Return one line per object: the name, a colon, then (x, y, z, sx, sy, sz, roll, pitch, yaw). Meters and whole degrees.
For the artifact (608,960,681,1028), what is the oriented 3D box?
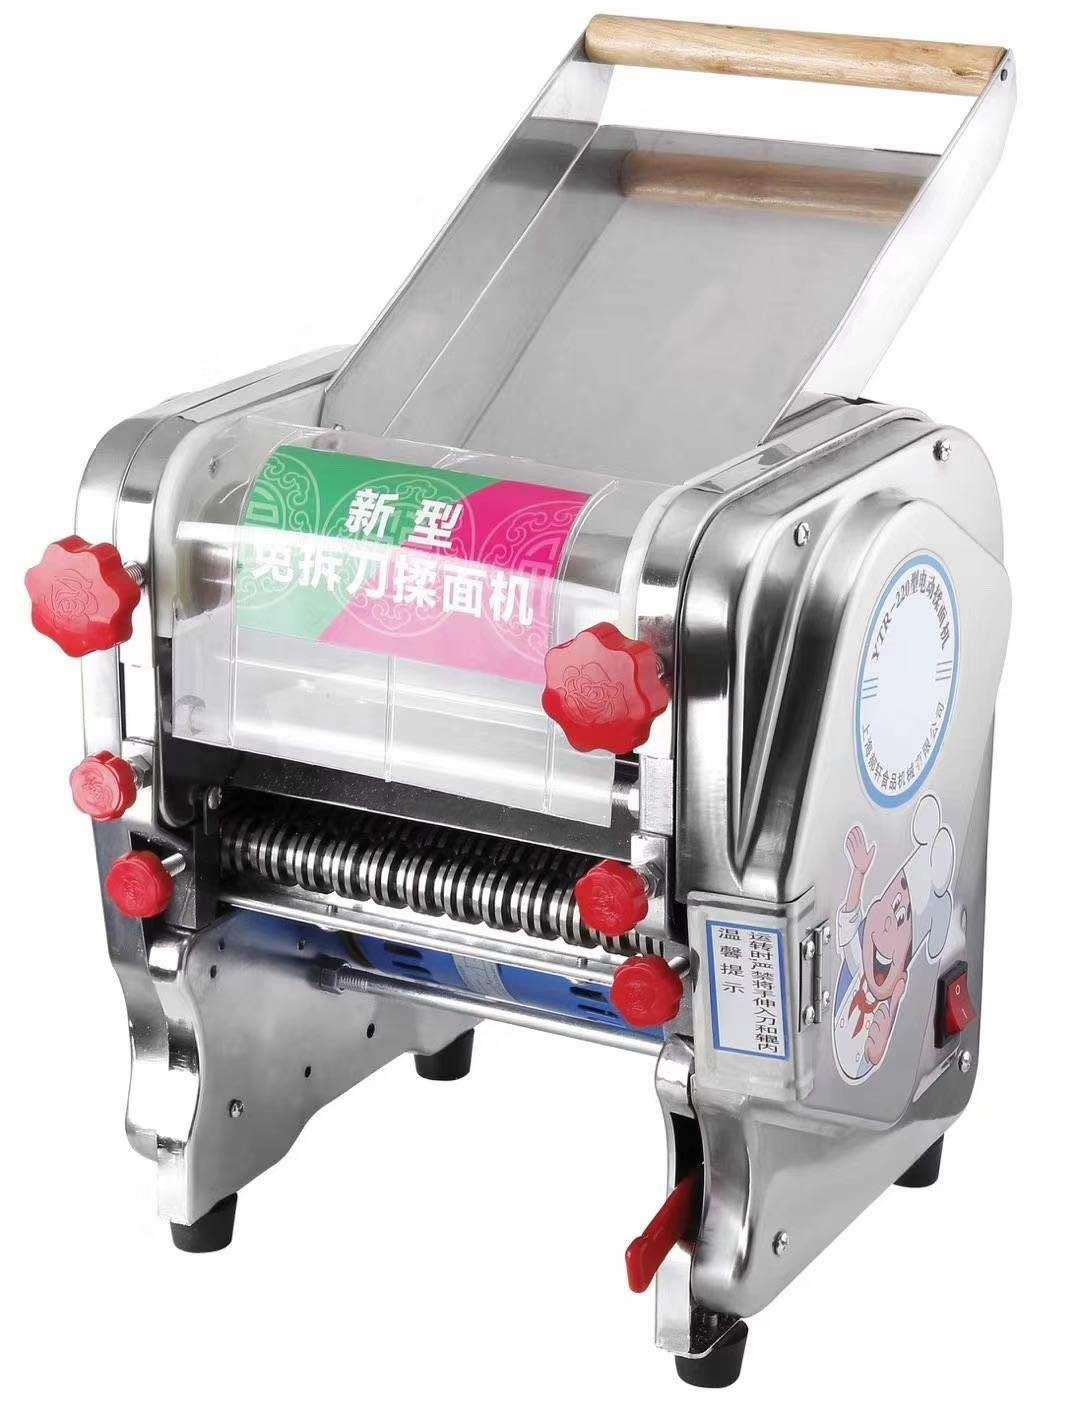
artifact: (0.099, 0.239, 1.249, 0.051, 0.056, 0.088, -7, -16, 43)

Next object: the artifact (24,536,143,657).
artifact: (-0.387, -0.095, 1.285, 0.113, 0.112, 0.034, 13, 15, 16)

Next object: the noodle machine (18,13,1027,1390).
noodle machine: (0.012, 0.007, 1.583, 0.747, 1.117, 0.831, 10, 21, 27)

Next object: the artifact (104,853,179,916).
artifact: (-0.383, 0.175, 1.471, 0.070, 0.052, 0.068, -33, -4, -6)

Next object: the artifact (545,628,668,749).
artifact: (0.050, -0.012, 1.071, 0.074, 0.080, 0.024, 8, 20, 24)
